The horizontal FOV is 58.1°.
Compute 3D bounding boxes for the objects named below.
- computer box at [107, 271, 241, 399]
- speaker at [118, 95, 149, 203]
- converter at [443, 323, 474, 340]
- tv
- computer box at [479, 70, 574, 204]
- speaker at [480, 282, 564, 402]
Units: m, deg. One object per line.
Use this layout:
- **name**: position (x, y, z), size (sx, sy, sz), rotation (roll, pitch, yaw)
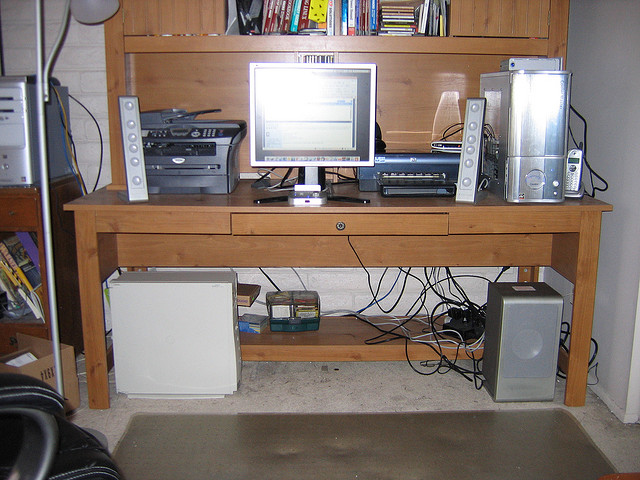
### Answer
- **computer box**: position (-0.685, 0.471, 2.862), size (0.605, 0.559, 0.344), rotation (1, 4, -2)
- **speaker**: position (-0.851, -0.408, 2.601), size (0.097, 0.462, 0.126), rotation (-8, 17, -16)
- **converter**: position (0.739, 0.489, 3.062), size (0.079, 0.036, 0.112), rotation (-1, 8, -20)
- **tv**: position (-0.032, -0.498, 2.647), size (0.709, 0.789, 0.258), rotation (1, 9, -1)
- **computer box**: position (0.960, -0.496, 2.699), size (0.280, 0.578, 0.396), rotation (-3, 17, -1)
- **speaker**: position (0.966, 0.485, 2.760), size (0.327, 0.550, 0.208), rotation (-3, 17, 0)
